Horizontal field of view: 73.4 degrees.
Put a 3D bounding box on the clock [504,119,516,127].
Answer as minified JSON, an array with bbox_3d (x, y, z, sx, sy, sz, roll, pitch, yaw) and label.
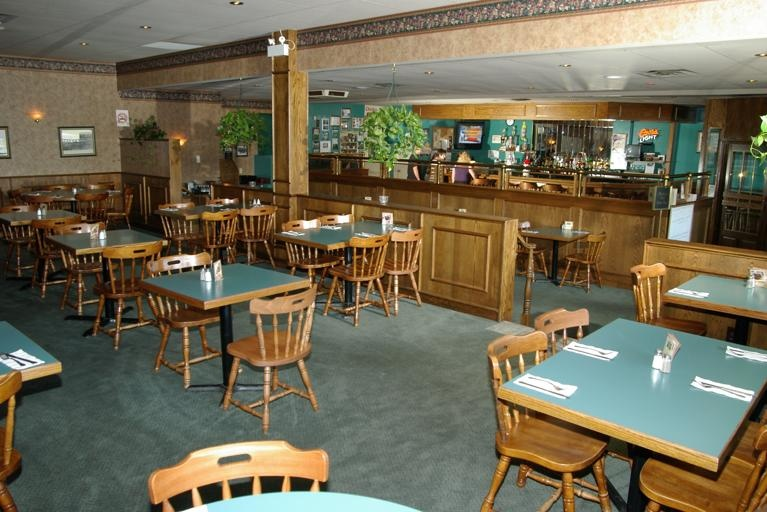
[{"bbox_3d":[3.692,-3.925,15.217,0.250,0.193,0.054,7,7,26],"label":"clock"}]

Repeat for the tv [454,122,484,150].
[{"bbox_3d":[2.719,-3.806,16.304,1.164,0.794,0.153,7,2,34],"label":"tv"}]

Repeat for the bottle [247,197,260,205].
[{"bbox_3d":[-2.191,-0.904,8.699,0.213,0.115,0.380,-1,2,-18],"label":"bottle"}]

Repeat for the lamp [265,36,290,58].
[{"bbox_3d":[-1.617,-3.246,7.949,0.307,0.370,0.805,-3,13,-7],"label":"lamp"}]

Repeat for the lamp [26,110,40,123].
[{"bbox_3d":[-7.735,-3.098,11.471,0.061,0.291,0.245,11,19,38],"label":"lamp"}]

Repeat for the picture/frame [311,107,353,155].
[{"bbox_3d":[-1.747,-4.220,17.285,0.252,1.439,1.721,13,20,41],"label":"picture/frame"}]
